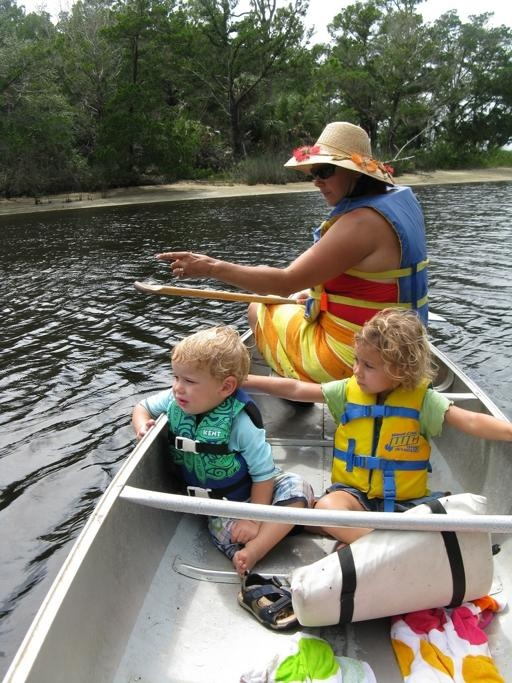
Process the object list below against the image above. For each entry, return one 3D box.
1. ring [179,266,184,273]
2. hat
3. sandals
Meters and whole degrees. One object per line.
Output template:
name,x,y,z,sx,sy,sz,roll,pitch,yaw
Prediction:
ring,-0.296,-0.282,2.365,0.018,0.015,0.005,4,20,25
hat,0.317,-0.743,2.274,0.330,0.144,0.330,13,0,-33
sandals,0.041,0.656,1.520,0.093,0.052,0.159,-13,17,-42
